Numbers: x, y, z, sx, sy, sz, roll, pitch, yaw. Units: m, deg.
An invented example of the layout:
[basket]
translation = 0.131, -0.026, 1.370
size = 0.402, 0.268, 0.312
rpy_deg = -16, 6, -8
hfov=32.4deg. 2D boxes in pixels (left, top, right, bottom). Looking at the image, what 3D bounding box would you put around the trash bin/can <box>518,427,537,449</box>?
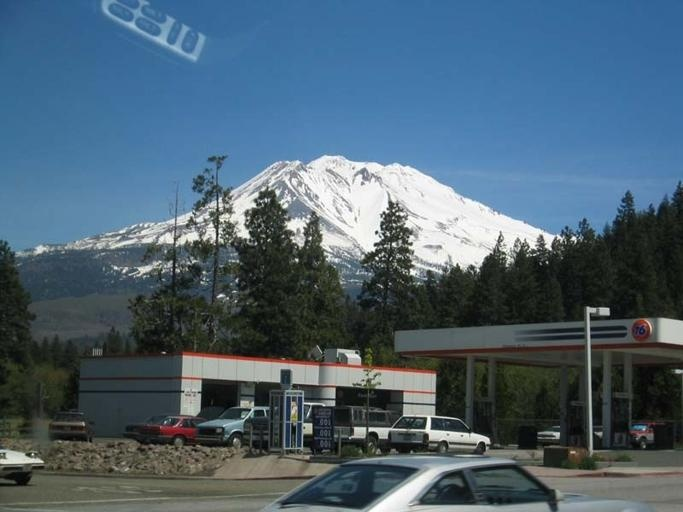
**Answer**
[trash bin/can]
translation = 12.046, 11.877, 77.207
size = 1.148, 1.928, 1.251
rpy_deg = 0, 0, -9
